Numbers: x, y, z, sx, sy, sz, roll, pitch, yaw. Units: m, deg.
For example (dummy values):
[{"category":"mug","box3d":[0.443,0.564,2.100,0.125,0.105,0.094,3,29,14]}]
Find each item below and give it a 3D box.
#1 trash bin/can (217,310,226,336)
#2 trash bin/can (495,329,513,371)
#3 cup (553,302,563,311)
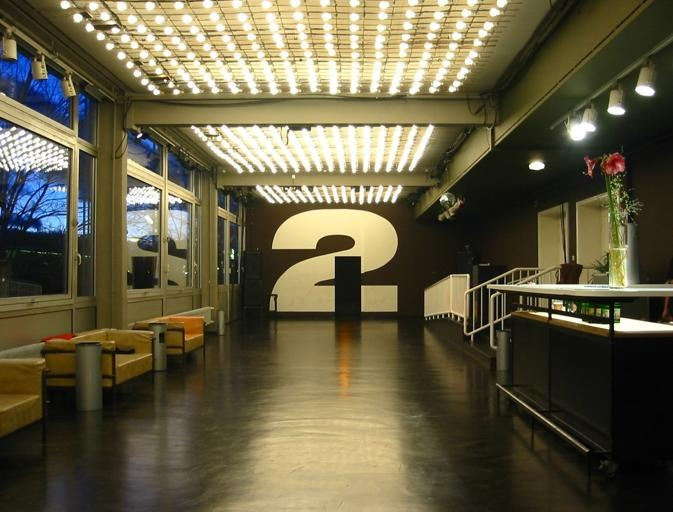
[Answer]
[{"category":"trash bin/can","box3d":[-2.795,1.628,12.180,0.160,0.589,0.132,0,0,-39]},{"category":"trash bin/can","box3d":[2.426,1.459,7.313,0.186,0.706,0.201,7,-8,-23]},{"category":"cup","box3d":[2.589,0.597,5.893,0.074,0.108,0.037,-1,12,-10]}]
